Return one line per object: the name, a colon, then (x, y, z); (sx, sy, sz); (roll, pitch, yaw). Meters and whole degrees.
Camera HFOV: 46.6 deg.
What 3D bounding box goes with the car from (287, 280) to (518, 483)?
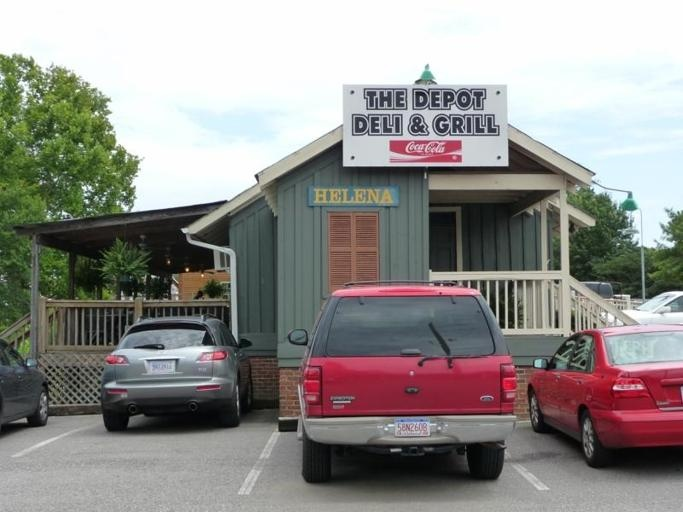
car: (0.796, 1.349, 9.142); (1.703, 1.378, 2.816); (0, -1, -2)
